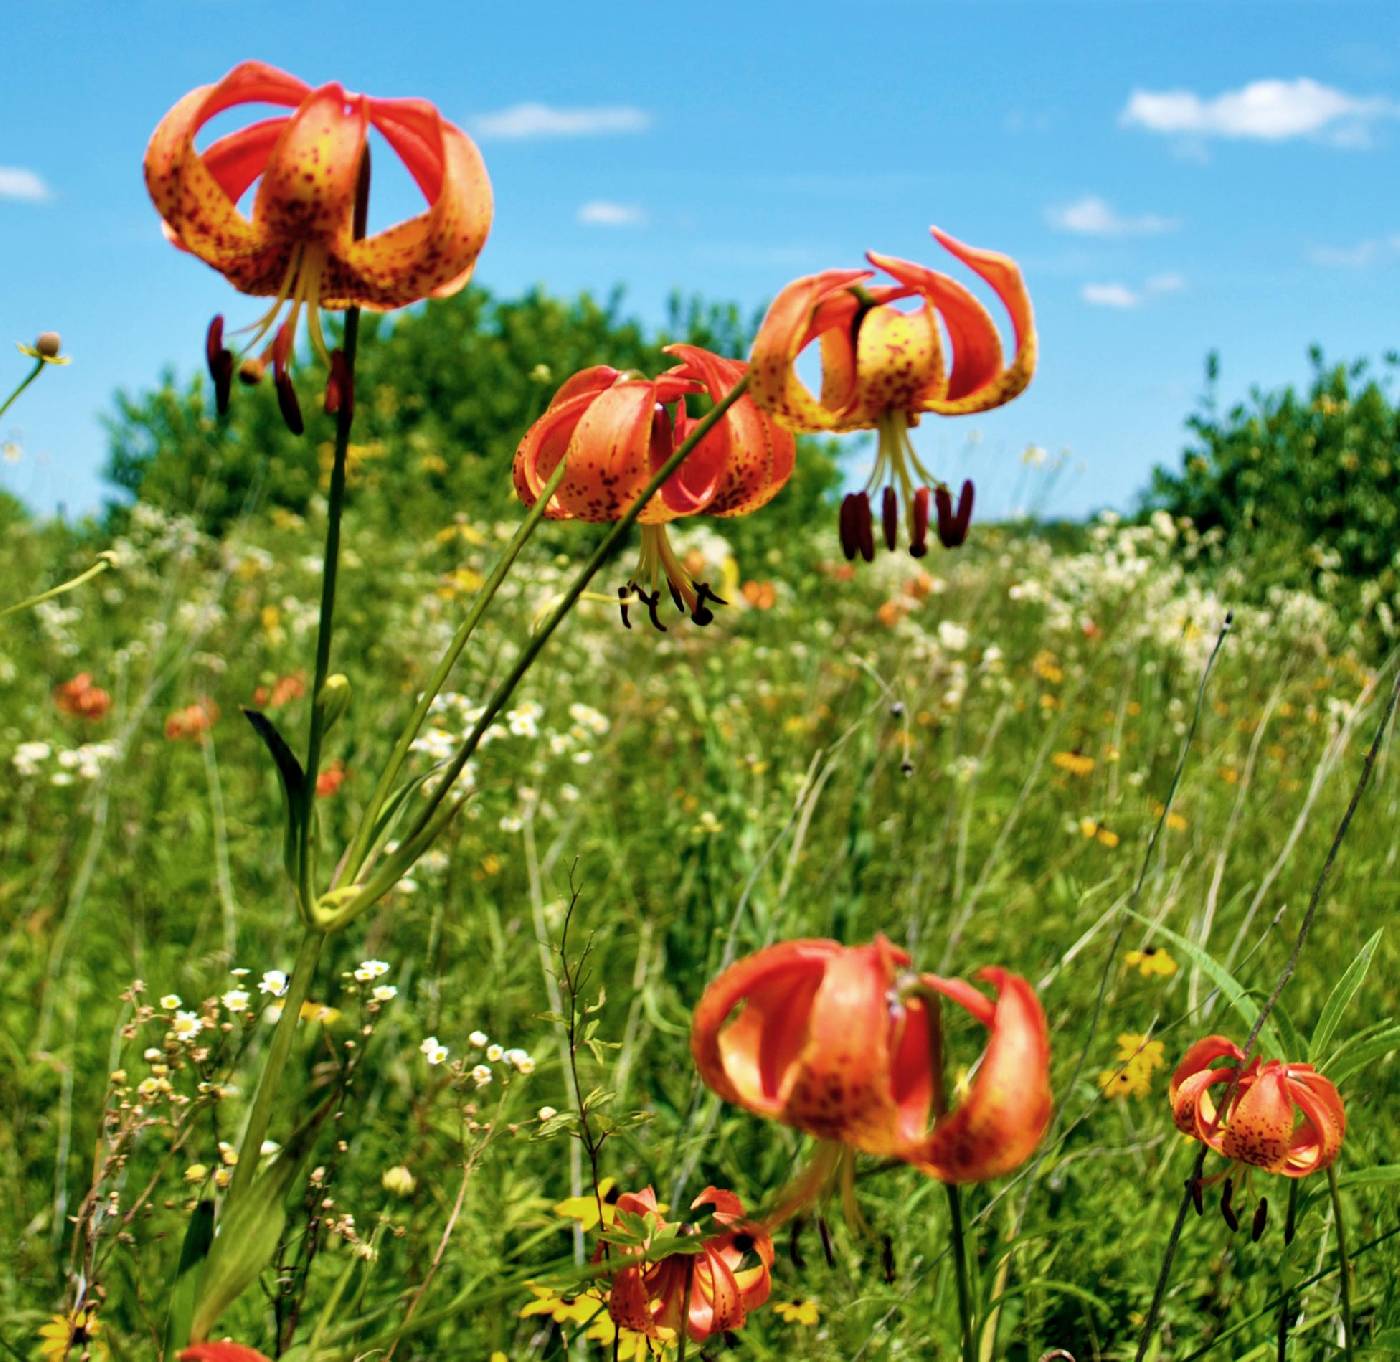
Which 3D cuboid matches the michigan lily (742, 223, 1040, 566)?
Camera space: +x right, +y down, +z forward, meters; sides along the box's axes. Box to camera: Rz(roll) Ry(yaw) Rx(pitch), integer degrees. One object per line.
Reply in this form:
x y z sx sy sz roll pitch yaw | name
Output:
0.270 -0.437 2.441 0.318 0.545 0.353 -5 6 14 | michigan lily

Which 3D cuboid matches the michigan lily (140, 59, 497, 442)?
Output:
-0.487 -0.594 2.256 0.257 0.413 0.305 2 -10 20 | michigan lily
